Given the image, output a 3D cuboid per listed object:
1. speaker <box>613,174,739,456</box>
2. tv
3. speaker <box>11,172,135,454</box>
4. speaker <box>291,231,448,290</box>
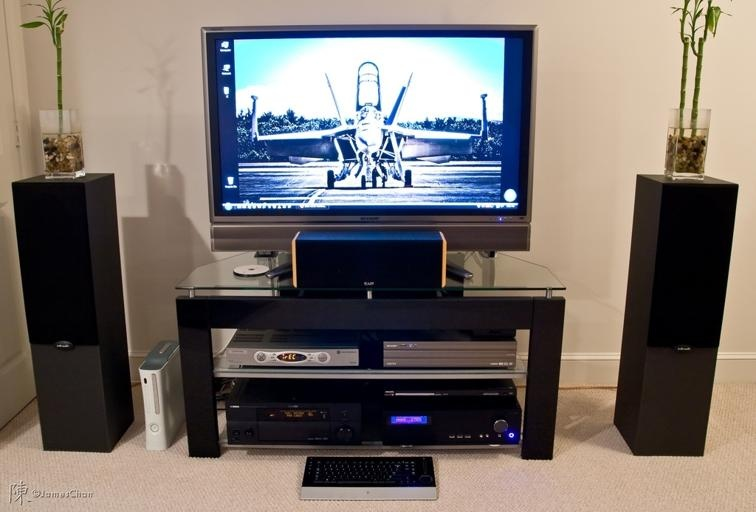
[{"bbox_3d":[1.348,0.280,2.974,0.397,1.281,0.348,3,17,12],"label":"speaker"},{"bbox_3d":[-0.027,-0.498,2.882,1.255,0.805,0.041,0,12,0],"label":"tv"},{"bbox_3d":[-1.405,0.266,3.012,0.345,1.261,0.362,0,16,4],"label":"speaker"},{"bbox_3d":[-0.040,0.024,2.901,0.663,0.225,0.189,0,10,1],"label":"speaker"}]
